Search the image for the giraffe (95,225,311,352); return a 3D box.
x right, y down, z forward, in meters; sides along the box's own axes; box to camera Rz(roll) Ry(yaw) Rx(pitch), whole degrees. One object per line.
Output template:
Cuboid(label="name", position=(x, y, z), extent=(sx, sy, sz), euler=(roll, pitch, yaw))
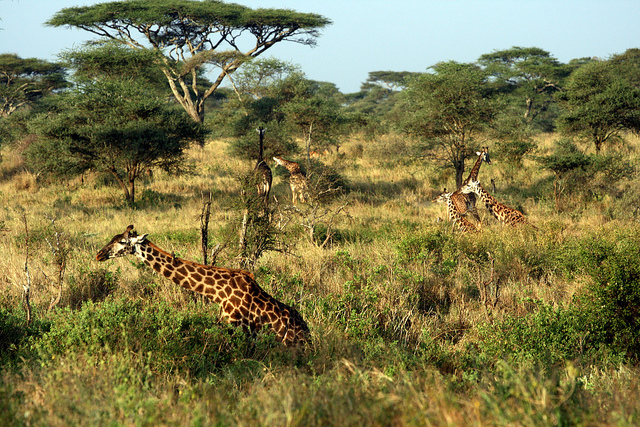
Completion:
Cuboid(label="giraffe", position=(-2.713, 2.754, 19.590), extent=(6.480, 3.900, 1.494), euler=(10, -13, -29))

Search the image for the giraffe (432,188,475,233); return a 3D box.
Cuboid(label="giraffe", position=(4.526, -0.100, 24.991), extent=(0.495, 1.550, 1.546), euler=(1, -6, -26))
